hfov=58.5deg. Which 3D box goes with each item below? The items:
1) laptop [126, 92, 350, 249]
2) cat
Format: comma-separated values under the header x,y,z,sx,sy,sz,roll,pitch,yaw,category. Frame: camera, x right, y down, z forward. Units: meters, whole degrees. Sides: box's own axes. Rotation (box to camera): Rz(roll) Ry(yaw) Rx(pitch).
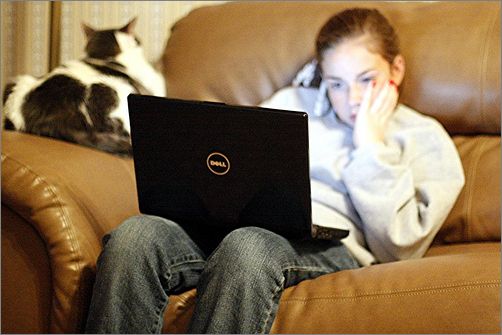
x,y,z,sx,sy,sz,roll,pitch,yaw,category
-0.046,-0.055,1.343,0.545,0.364,0.459,-1,23,-1,laptop
-0.563,-0.268,1.735,0.393,0.321,0.614,9,41,12,cat
